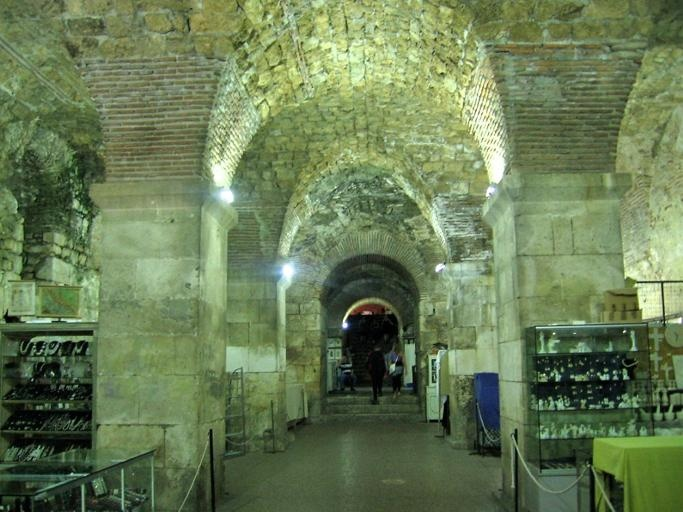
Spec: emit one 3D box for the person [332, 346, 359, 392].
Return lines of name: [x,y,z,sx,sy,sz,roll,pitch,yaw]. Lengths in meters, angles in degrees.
person: [0.064,3.532,24.505,0.867,2.060,1.074,3,-48,-3]

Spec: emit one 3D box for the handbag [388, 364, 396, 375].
handbag: [1.223,2.789,19.405,0.177,0.233,0.053,15,-3,40]

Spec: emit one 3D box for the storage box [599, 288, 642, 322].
storage box: [3.178,0.605,9.263,0.475,0.477,0.358,-3,-13,15]
